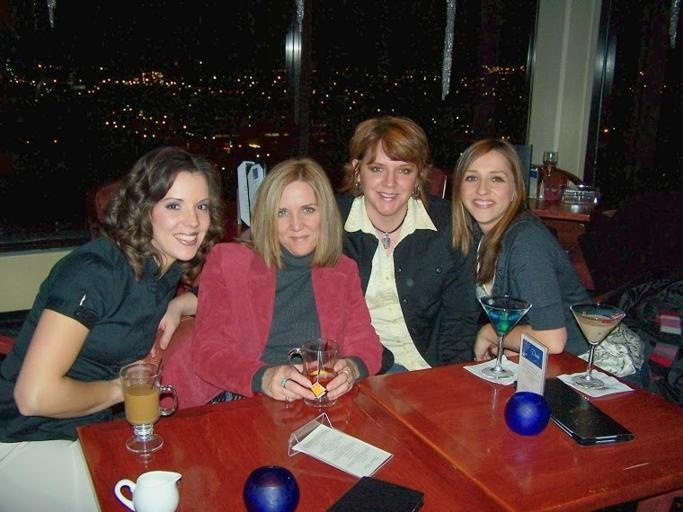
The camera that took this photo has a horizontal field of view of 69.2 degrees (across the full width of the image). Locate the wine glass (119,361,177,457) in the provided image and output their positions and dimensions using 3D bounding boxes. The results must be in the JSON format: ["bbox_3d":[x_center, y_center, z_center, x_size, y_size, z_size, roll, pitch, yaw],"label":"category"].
[{"bbox_3d":[-0.577,0.464,1.500,0.146,0.213,0.107,2,1,-35],"label":"wine glass"}]

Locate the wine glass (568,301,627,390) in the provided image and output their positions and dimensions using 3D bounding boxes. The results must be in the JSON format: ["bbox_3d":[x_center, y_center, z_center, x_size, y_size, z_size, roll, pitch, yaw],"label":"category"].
[{"bbox_3d":[0.920,0.345,1.838,0.198,0.267,0.210,9,-10,3],"label":"wine glass"}]

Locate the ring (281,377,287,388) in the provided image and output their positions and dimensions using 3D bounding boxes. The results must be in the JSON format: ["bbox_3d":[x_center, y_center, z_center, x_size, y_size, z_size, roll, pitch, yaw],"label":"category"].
[{"bbox_3d":[-0.195,0.431,1.674,0.016,0.022,0.021,16,28,-6],"label":"ring"}]

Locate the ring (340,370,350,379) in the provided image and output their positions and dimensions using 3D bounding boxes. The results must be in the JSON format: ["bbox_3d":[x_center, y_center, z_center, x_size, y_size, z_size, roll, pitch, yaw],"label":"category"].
[{"bbox_3d":[0.010,0.415,1.730,0.022,0.030,0.016,1,5,-11],"label":"ring"}]

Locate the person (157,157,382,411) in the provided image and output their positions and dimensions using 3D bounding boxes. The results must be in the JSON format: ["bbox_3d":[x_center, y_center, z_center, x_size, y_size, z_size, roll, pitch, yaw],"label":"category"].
[{"bbox_3d":[-0.195,0.173,2.109,0.683,1.183,0.828,3,-1,16],"label":"person"}]
